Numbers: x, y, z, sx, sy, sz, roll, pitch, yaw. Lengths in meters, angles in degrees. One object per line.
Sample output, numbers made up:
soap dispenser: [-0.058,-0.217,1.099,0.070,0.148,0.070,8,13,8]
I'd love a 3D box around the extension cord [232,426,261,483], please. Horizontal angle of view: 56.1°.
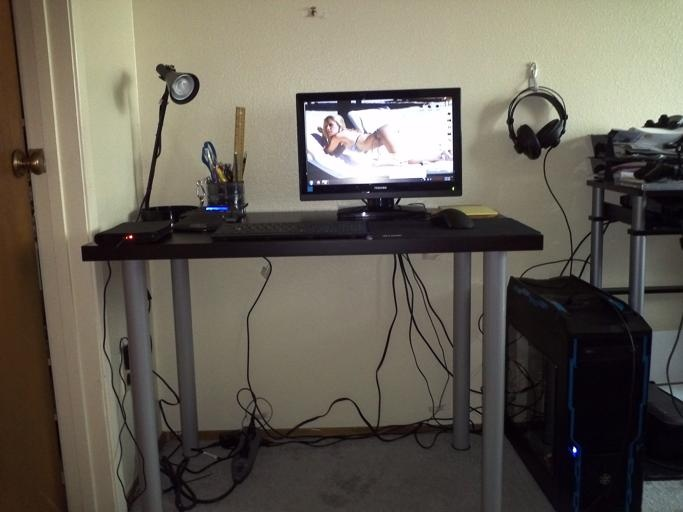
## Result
extension cord: [-0.406,0.829,2.718,0.092,0.371,0.055,14,33,-8]

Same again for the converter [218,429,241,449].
converter: [-0.489,0.804,2.827,0.071,0.083,0.026,-3,-7,1]

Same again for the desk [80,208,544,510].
desk: [-0.089,0.615,2.746,1.905,1.479,0.995,0,15,-1]

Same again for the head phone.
head phone: [0.809,-0.558,2.646,0.229,0.307,0.148,-3,0,9]

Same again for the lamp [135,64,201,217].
lamp: [-0.714,-0.478,2.636,0.300,0.607,0.270,-6,12,-12]

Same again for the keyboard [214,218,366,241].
keyboard: [-0.176,-0.092,2.296,0.535,0.060,0.229,-4,13,3]

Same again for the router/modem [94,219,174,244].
router/modem: [-0.736,-0.083,2.294,0.242,0.050,0.212,-5,13,-2]
